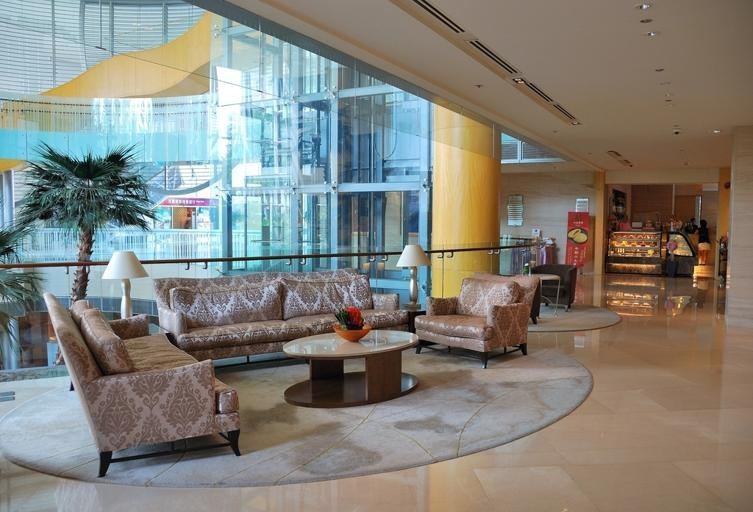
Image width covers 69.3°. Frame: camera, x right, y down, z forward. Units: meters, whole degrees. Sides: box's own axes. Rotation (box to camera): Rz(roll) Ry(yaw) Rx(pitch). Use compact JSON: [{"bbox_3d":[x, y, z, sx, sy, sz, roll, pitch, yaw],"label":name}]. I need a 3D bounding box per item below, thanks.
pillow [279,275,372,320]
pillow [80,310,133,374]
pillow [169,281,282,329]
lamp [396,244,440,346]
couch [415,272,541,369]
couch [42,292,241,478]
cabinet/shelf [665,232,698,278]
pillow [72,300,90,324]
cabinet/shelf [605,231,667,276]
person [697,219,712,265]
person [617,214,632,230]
[{"bbox_3d":[-0.668,0.503,7.246,1.317,0.520,0.275,0,4,-35],"label":"pillow"},{"bbox_3d":[-2.290,0.736,4.592,0.177,0.154,0.497,-13,24,-35],"label":"pillow"},{"bbox_3d":[-1.747,0.554,6.674,1.414,0.483,0.199,-6,17,23],"label":"pillow"},{"bbox_3d":[0.518,0.392,7.666,0.641,0.985,0.548,-5,1,-17],"label":"lamp"},{"bbox_3d":[1.341,0.730,7.092,1.384,0.754,1.352,1,12,38],"label":"couch"},{"bbox_3d":[-2.462,1.020,5.459,1.403,0.908,2.786,2,2,-33],"label":"couch"},{"bbox_3d":[9.056,-0.040,16.232,0.829,1.263,0.645,8,16,28],"label":"cabinet/shelf"},{"bbox_3d":[-2.660,0.505,4.884,0.130,0.105,0.119,-20,41,-17],"label":"pillow"},{"bbox_3d":[8.243,-0.071,17.097,1.750,1.184,0.848,2,2,32],"label":"cabinet/shelf"},{"bbox_3d":[11.766,-0.493,19.591,0.397,1.651,0.818,8,17,27],"label":"person"},{"bbox_3d":[8.423,-1.146,18.523,0.564,0.539,0.965,-1,2,27],"label":"person"}]
